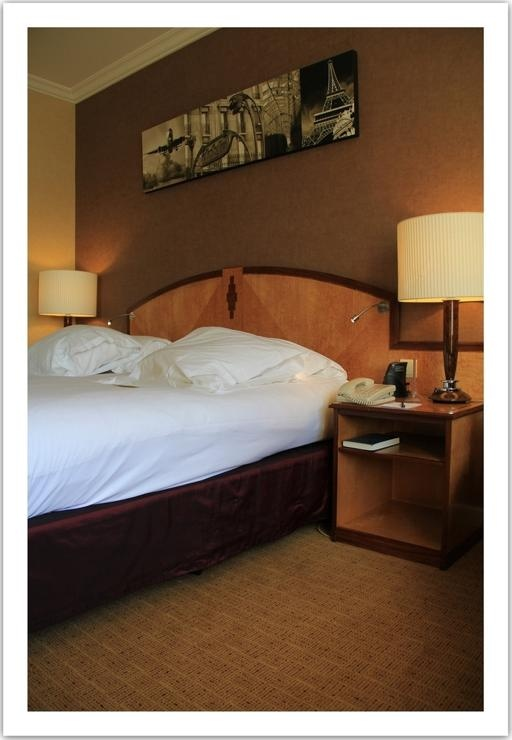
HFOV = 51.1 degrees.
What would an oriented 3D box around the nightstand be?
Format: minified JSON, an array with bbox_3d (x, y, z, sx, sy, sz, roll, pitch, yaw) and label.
[{"bbox_3d":[0.595,0.398,2.057,0.472,0.522,0.490,1,2,41],"label":"nightstand"}]

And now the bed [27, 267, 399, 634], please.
[{"bbox_3d":[-0.247,0.224,2.046,1.132,0.776,1.164,4,8,38],"label":"bed"}]

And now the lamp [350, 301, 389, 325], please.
[{"bbox_3d":[0.495,-0.251,2.373,0.165,0.083,0.067,-30,40,9],"label":"lamp"}]

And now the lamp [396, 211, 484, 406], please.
[{"bbox_3d":[0.678,-0.218,2.015,0.277,0.674,0.362,0,2,17],"label":"lamp"}]

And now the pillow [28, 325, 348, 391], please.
[{"bbox_3d":[-0.463,-0.056,2.413,1.001,0.196,0.654,4,2,25],"label":"pillow"}]
